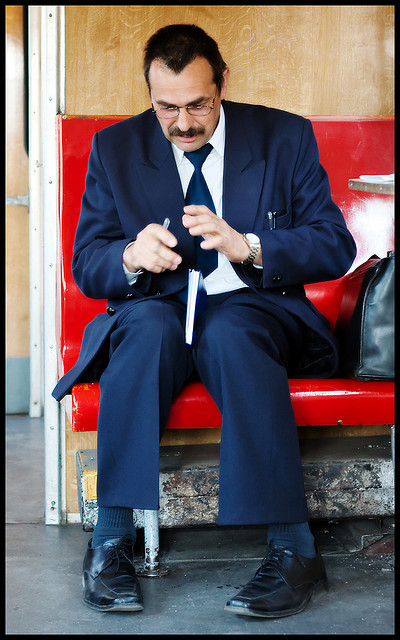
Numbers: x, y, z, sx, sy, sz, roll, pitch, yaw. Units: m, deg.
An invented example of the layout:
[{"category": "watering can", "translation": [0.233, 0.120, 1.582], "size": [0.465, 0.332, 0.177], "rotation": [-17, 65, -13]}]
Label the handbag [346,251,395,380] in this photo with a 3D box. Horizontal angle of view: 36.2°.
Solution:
[{"category": "handbag", "translation": [0.379, -0.009, 1.381], "size": [0.121, 0.288, 0.075], "rotation": [-3, -4, 22]}]

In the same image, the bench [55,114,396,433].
[{"category": "bench", "translation": [0.024, -0.106, 1.394], "size": [0.823, 0.600, 0.440], "rotation": [-3, 12, -6]}]

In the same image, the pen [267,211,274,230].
[{"category": "pen", "translation": [0.168, -0.239, 1.464], "size": [0.013, 0.044, 0.013], "rotation": [-1, -4, -5]}]

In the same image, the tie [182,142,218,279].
[{"category": "tie", "translation": [-0.001, -0.275, 1.498], "size": [0.062, 0.369, 0.059], "rotation": [2, -24, 0]}]

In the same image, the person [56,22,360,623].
[{"category": "person", "translation": [0.003, -0.056, 1.413], "size": [0.603, 1.225, 0.672], "rotation": [-4, -4, 32]}]

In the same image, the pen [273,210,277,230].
[{"category": "pen", "translation": [0.178, -0.240, 1.465], "size": [0.010, 0.043, 0.012], "rotation": [0, -6, -2]}]
